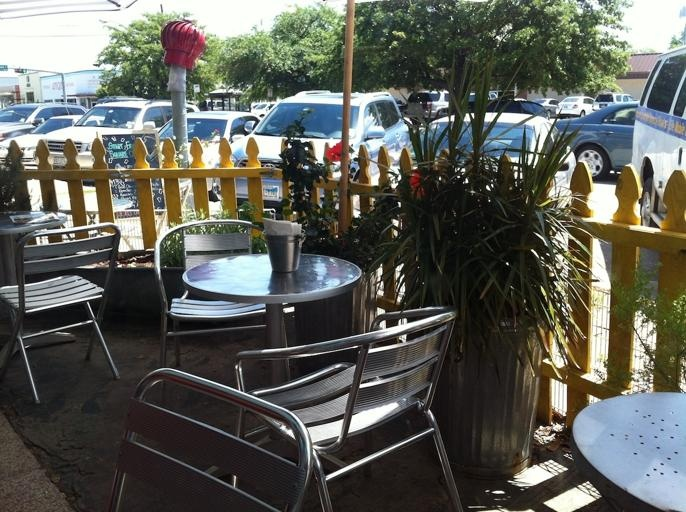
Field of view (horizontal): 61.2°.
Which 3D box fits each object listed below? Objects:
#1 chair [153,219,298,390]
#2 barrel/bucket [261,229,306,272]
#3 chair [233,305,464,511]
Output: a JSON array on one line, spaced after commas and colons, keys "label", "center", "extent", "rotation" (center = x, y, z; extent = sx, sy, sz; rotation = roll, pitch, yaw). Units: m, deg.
[{"label": "chair", "center": [-0.863, 0.296, 4.134], "extent": [0.877, 1.131, 0.921], "rotation": [-2, 6, 5]}, {"label": "barrel/bucket", "center": [-0.338, -0.026, 3.357], "extent": [0.228, 0.217, 0.235], "rotation": [-1, 2, 0]}, {"label": "chair", "center": [0.078, 0.747, 2.782], "extent": [0.680, 1.025, 0.689], "rotation": [-11, 20, -37]}]
